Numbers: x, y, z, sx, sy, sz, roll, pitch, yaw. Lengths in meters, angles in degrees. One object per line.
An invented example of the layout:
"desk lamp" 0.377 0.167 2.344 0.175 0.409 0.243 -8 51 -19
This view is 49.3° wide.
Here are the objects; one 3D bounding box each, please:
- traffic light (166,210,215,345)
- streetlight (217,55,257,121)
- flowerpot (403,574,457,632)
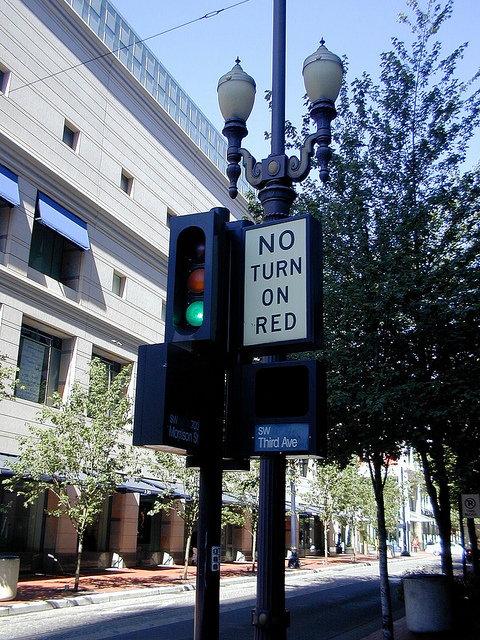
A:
"traffic light" -0.230 -0.191 2.454 0.219 0.756 0.399 3 -19 -8
"streetlight" -0.020 -1.926 4.405 0.328 0.634 0.345 1 0 16
"flowerpot" 3.995 5.814 10.792 1.091 1.156 1.133 3 -26 2
